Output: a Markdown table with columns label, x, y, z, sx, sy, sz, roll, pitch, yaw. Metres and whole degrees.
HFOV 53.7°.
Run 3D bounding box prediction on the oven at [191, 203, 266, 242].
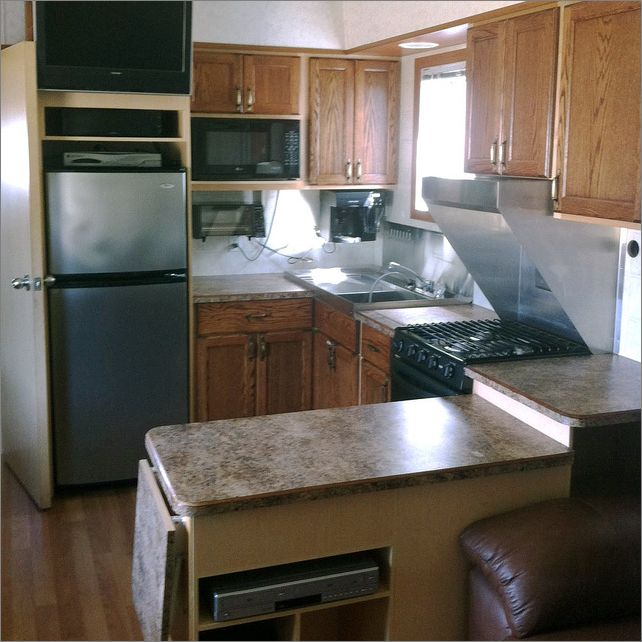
| label | x | y | z | sx | sy | sz | roll | pitch | yaw |
| --- | --- | --- | --- | --- | --- | --- | --- | --- | --- |
| oven | -0.596 | -0.645 | 4.017 | 0.428 | 0.186 | 0.249 | -2 | 15 | -9 |

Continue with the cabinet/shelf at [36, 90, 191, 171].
| label | x | y | z | sx | sy | sz | roll | pitch | yaw |
| --- | --- | --- | --- | --- | --- | --- | --- | --- | --- |
| cabinet/shelf | -1.137 | -1.024 | 3.459 | 0.728 | 0.367 | 0.565 | -3 | 12 | -22 |

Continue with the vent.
| label | x | y | z | sx | sy | sz | roll | pitch | yaw |
| --- | --- | --- | --- | --- | --- | --- | --- | --- | --- |
| vent | 0.829 | -0.215 | 2.559 | 0.551 | 0.666 | 0.941 | -1 | 7 | -7 |
